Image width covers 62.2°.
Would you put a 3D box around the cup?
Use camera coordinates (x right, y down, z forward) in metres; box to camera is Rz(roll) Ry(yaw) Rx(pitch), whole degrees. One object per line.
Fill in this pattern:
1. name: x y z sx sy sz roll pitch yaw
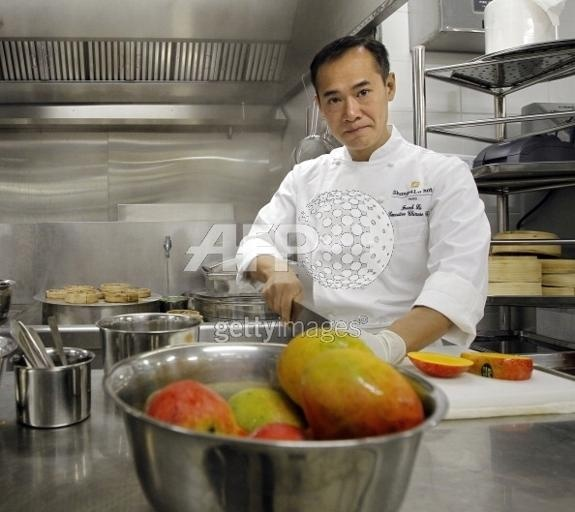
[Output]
1. cup: -0.251 0.141 0.530 0.088 0.061 0.082 1 -2 0

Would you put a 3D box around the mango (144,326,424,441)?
1. mango: 0.003 0.072 0.335 0.124 0.046 0.104 0 1 -1
